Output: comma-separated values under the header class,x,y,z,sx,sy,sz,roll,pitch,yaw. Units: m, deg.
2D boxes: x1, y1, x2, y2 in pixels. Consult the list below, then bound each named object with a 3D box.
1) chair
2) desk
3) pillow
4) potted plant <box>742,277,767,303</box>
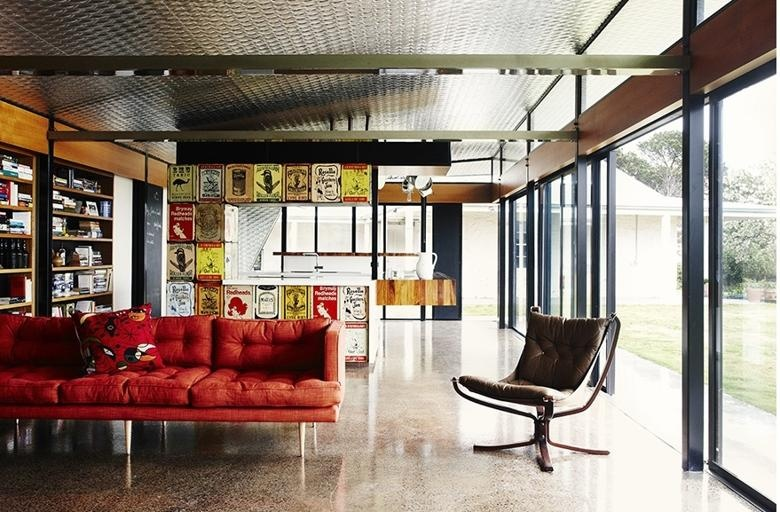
class,x,y,z,sx,sy,sz,roll,pitch,yaw
chair,1.454,1.242,6.027,1.289,1.205,1.222,-4,2,-42
desk,0.353,0.524,8.748,1.085,0.380,0.277,0,13,-1
pillow,-2.641,0.798,6.002,0.740,0.651,0.322,-10,-18,-31
potted plant,3.071,0.303,5.202,0.185,0.116,0.138,2,-2,16
